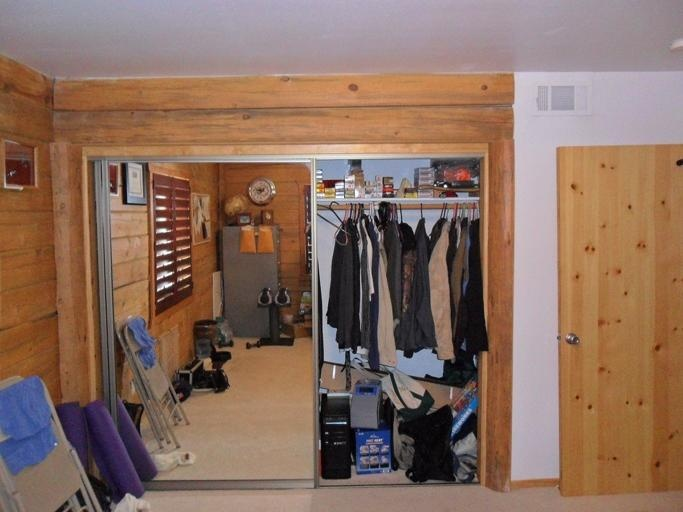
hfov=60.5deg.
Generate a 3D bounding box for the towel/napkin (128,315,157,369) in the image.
[{"bbox_3d":[-1.601,0.699,4.719,0.110,0.364,0.287,-15,8,2],"label":"towel/napkin"}]

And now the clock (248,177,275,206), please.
[{"bbox_3d":[-1.047,-0.839,7.689,0.337,0.341,0.107,4,6,3],"label":"clock"}]

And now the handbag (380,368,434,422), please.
[{"bbox_3d":[0.527,1.099,4.662,0.311,0.405,0.143,-22,-20,-22],"label":"handbag"}]
